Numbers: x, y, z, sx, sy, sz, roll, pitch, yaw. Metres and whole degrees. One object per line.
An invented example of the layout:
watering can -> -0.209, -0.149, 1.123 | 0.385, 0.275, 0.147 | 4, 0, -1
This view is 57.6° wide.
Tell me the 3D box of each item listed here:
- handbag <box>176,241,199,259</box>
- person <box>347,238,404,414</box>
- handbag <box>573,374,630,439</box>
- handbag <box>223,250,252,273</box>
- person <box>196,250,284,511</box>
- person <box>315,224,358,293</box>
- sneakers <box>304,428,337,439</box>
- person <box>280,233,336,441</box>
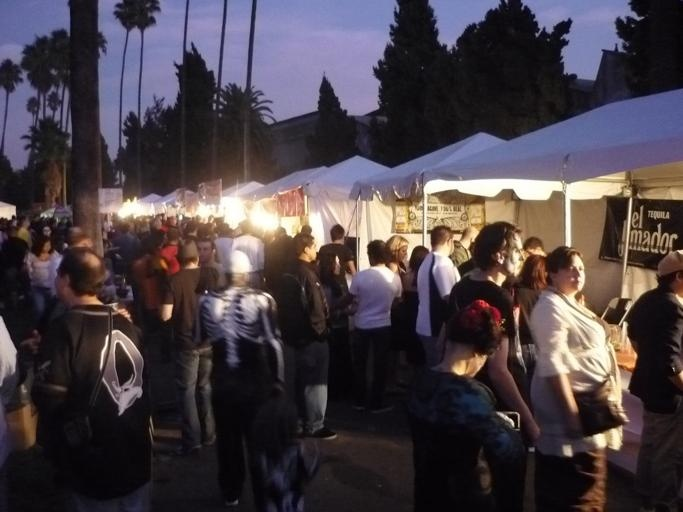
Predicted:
handbag -> -1.618, -0.063, 6.507 | 0.192, 0.219, 0.162 | -3, 4, 3
person -> 0.401, 0.766, 7.679 | 0.609, 2.100, 0.583 | 1, 19, -2
handbag -> 1.767, 1.062, 4.266 | 0.324, 0.371, 0.198 | -2, 8, -13
handbag -> -0.837, 0.061, 5.104 | 0.160, 0.146, 0.178 | 1, -5, 8
person -> -0.798, 1.104, 5.102 | 0.481, 2.234, 0.716 | -8, 11, -43
person -> -0.074, 0.323, 9.425 | 0.522, 1.678, 0.490 | 8, 20, 21
sneakers -> -0.246, 1.962, 6.849 | 0.340, 0.177, 0.139 | -2, -5, 1
person -> -0.391, 1.016, 6.807 | 0.603, 1.955, 0.300 | -1, 8, -5
